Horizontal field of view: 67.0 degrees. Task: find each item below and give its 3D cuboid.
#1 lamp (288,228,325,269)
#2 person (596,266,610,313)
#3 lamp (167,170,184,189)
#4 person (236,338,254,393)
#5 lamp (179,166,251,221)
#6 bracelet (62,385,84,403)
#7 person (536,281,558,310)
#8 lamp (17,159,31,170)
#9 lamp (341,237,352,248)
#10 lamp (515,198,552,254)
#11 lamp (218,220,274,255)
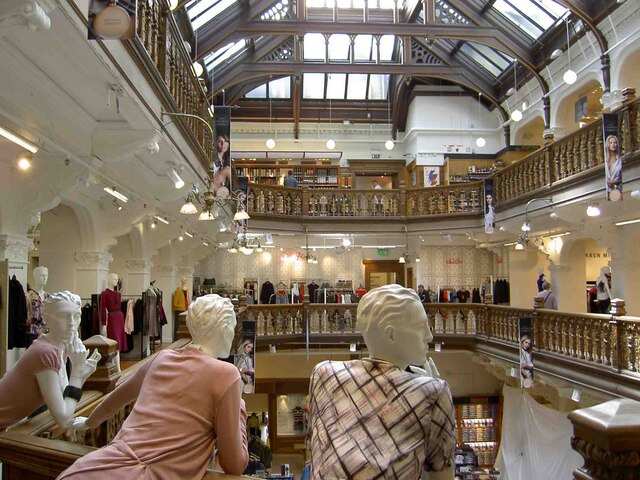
[{"bbox_3d":[-0.591,0.336,17.092,1.076,1.344,1.088,4,1,43],"label":"lamp"},{"bbox_3d":[5.975,1.028,10.210,0.287,1.043,1.021,-3,-10,31],"label":"person"},{"bbox_3d":[-1.985,-0.846,6.711,0.153,0.261,0.422,2,-9,-1],"label":"lamp"},{"bbox_3d":[-1.433,2.416,9.181,0.395,1.194,0.123,2,21,0],"label":"person"},{"bbox_3d":[-1.596,-0.627,7.410,1.045,0.886,1.057,5,-5,-5],"label":"lamp"},{"bbox_3d":[-1.491,0.928,2.922,0.085,0.068,0.091,9,-10,-17],"label":"bracelet"},{"bbox_3d":[4.831,1.183,10.341,0.354,0.637,0.981,-2,-10,24],"label":"person"},{"bbox_3d":[-3.512,-0.897,5.749,0.117,0.141,0.031,3,9,1],"label":"lamp"},{"bbox_3d":[0.737,0.086,13.777,0.208,0.355,0.317,-1,1,6],"label":"lamp"},{"bbox_3d":[5.116,-0.330,11.620,0.597,0.888,3.975,-1,-11,20],"label":"lamp"},{"bbox_3d":[-2.179,-0.159,14.771,1.151,1.160,1.267,0,-6,12],"label":"lamp"}]
